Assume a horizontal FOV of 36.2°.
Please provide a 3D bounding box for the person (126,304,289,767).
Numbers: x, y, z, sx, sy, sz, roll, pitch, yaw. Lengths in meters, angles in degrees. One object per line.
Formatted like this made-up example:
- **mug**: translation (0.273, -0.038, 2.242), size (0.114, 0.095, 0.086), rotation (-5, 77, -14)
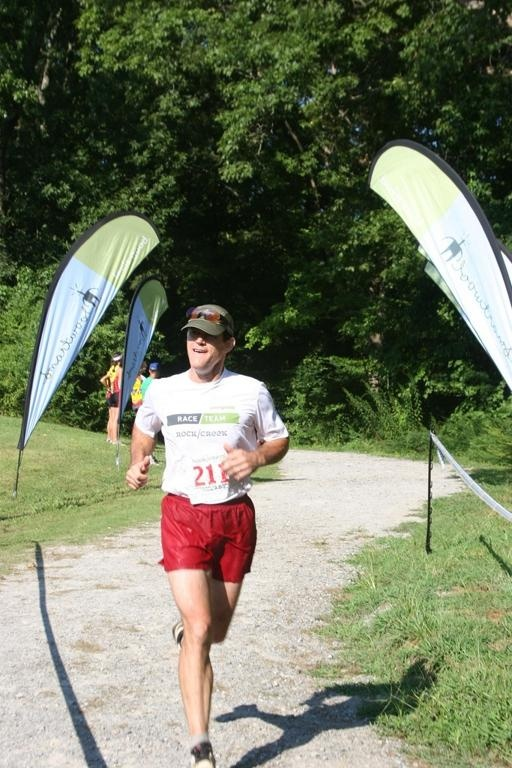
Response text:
- **person**: translation (-0.285, 0.489, 3.397), size (0.729, 1.938, 0.889), rotation (3, 0, 11)

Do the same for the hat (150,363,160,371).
- **hat**: translation (-1.669, -0.287, 13.015), size (0.182, 0.130, 0.291), rotation (6, 2, 3)

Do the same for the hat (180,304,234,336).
- **hat**: translation (-0.200, -0.306, 3.620), size (0.145, 0.102, 0.199), rotation (8, -9, 26)
